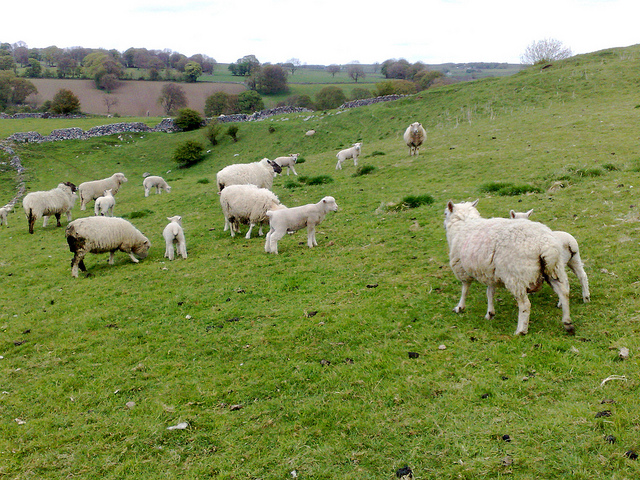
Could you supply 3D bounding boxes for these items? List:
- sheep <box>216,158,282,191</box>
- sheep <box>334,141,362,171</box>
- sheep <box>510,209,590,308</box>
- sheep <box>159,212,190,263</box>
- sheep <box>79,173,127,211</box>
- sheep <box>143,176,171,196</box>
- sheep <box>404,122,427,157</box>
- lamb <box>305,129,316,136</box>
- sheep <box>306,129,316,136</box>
[{"bbox_3d":[-3.317,-3.086,32.555,3.298,2.141,1.276,-5,18,-32],"label":"sheep"},{"bbox_3d":[1.497,-4.572,38.488,1.372,1.160,2.407,-4,16,7],"label":"sheep"},{"bbox_3d":[7.232,0.710,22.397,2.140,2.909,2.109,0,11,10],"label":"sheep"},{"bbox_3d":[-5.824,-0.087,28.525,1.012,1.550,2.048,-9,16,-10],"label":"sheep"},{"bbox_3d":[-11.674,-2.662,38.256,2.774,1.708,0.733,-15,20,-39],"label":"sheep"},{"bbox_3d":[-9.634,-3.223,41.877,1.416,1.103,2.031,-5,16,3],"label":"sheep"},{"bbox_3d":[4.966,-5.295,36.904,0.864,1.619,1.351,-6,16,0],"label":"sheep"},{"bbox_3d":[-0.751,-8.215,54.611,0.925,0.506,0.290,26,51,29],"label":"lamb"},{"bbox_3d":[-0.776,-8.252,54.570,0.662,0.347,0.377,-13,-11,37],"label":"sheep"}]
